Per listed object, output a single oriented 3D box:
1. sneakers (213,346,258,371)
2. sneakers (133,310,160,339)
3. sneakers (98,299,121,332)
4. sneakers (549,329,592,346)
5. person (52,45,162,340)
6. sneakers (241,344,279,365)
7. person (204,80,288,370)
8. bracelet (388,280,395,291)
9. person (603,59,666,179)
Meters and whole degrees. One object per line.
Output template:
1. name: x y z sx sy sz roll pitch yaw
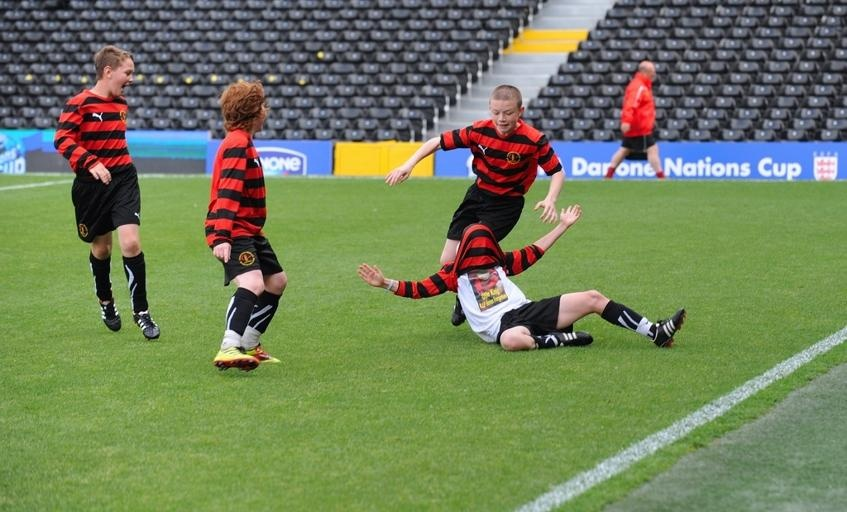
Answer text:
1. sneakers: -1.706 0.935 8.571 0.391 0.271 0.266 -2 15 -4
2. sneakers: -2.795 0.685 9.547 0.238 0.260 0.285 -6 16 -17
3. sneakers: -3.294 0.608 9.792 0.141 0.386 0.175 -27 21 -20
4. sneakers: 1.413 0.777 9.199 0.432 0.169 0.149 -5 23 -3
5. person: -3.211 -0.459 9.744 0.709 2.412 1.097 -15 21 -42
6. sneakers: -1.546 0.928 8.947 0.397 0.163 0.132 8 4 -14
7. person: -1.672 -0.276 8.701 0.690 2.568 1.122 -3 15 -6
8. bracelet: -0.304 0.271 9.060 0.026 0.088 0.084 20 36 -19
9. person: 3.829 -2.469 17.414 0.715 2.151 1.191 13 20 40
